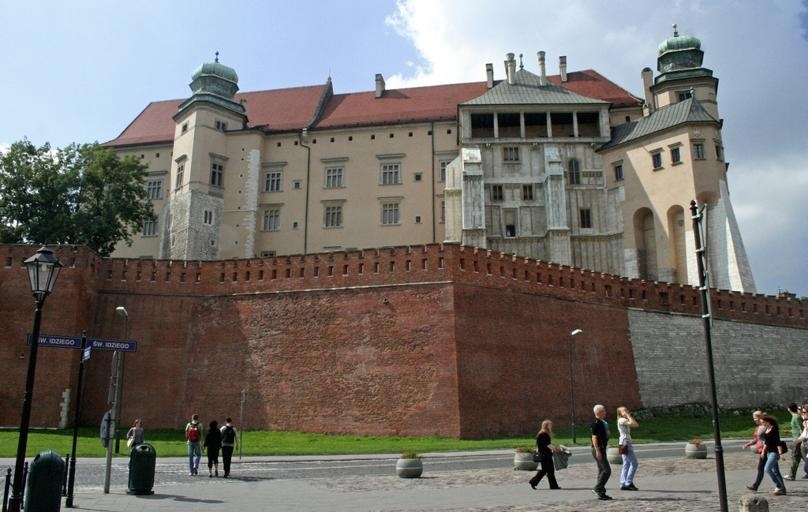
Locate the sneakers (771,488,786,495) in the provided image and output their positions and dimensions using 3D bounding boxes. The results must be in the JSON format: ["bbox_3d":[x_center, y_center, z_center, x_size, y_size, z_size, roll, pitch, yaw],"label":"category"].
[{"bbox_3d":[12.748,7.907,26.674,0.555,0.230,0.278,4,-13,-24],"label":"sneakers"}]

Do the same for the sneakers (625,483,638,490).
[{"bbox_3d":[7.685,7.842,26.867,0.655,0.258,0.196,6,-10,-32],"label":"sneakers"}]

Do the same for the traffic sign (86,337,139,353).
[{"bbox_3d":[-11.932,3.626,32.336,2.919,0.663,0.358,2,-8,-20],"label":"traffic sign"}]

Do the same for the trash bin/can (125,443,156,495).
[{"bbox_3d":[-9.202,7.452,27.744,0.854,1.725,0.661,2,-13,-16],"label":"trash bin/can"}]

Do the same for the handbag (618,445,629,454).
[{"bbox_3d":[7.421,6.480,26.549,0.301,0.302,0.401,-5,-12,15],"label":"handbag"}]

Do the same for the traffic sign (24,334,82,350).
[{"bbox_3d":[-12.045,2.942,27.890,1.752,0.402,1.696,1,0,-3],"label":"traffic sign"}]

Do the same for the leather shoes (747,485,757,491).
[{"bbox_3d":[11.933,7.915,27.029,0.335,0.137,0.111,14,-19,14],"label":"leather shoes"}]
